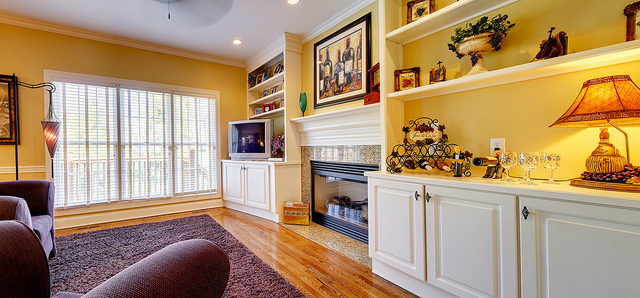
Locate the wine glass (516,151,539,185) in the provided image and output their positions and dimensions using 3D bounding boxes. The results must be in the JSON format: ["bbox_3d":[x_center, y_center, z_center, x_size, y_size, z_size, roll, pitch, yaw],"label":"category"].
[{"bbox_3d":[2.972,0.263,4.990,0.286,0.476,0.346,-2,0,25],"label":"wine glass"}]

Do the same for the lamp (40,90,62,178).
[{"bbox_3d":[-5.058,-0.286,6.586,0.316,1.546,0.496,-2,0,-36],"label":"lamp"}]

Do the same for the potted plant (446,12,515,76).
[{"bbox_3d":[2.421,-1.599,5.490,1.058,0.824,1.099,3,2,25],"label":"potted plant"}]

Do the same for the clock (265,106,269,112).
[{"bbox_3d":[-1.183,-0.888,7.718,0.104,0.096,0.042,-2,0,45],"label":"clock"}]

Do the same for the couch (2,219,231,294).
[{"bbox_3d":[-2.416,1.408,4.175,1.545,0.955,1.496,0,-7,42],"label":"couch"}]

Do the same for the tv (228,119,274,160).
[{"bbox_3d":[-1.750,-0.180,7.705,0.633,0.824,1.205,1,1,36],"label":"tv"}]

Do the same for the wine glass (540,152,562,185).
[{"bbox_3d":[3.259,0.266,4.928,0.263,0.466,0.279,-2,0,30],"label":"wine glass"}]

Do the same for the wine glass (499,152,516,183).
[{"bbox_3d":[2.716,0.259,5.077,0.217,0.447,0.292,-2,0,14],"label":"wine glass"}]

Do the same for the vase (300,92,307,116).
[{"bbox_3d":[-0.356,-0.919,7.105,0.157,0.479,0.140,-2,0,23],"label":"vase"}]

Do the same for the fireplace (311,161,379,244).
[{"bbox_3d":[0.591,0.887,6.575,0.719,1.264,1.848,-1,3,-35],"label":"fireplace"}]

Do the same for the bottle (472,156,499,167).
[{"bbox_3d":[2.434,0.179,5.136,0.366,0.147,0.085,-1,0,-6],"label":"bottle"}]

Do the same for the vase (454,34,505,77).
[{"bbox_3d":[2.344,-1.353,5.296,0.768,0.441,0.687,-2,1,-8],"label":"vase"}]
